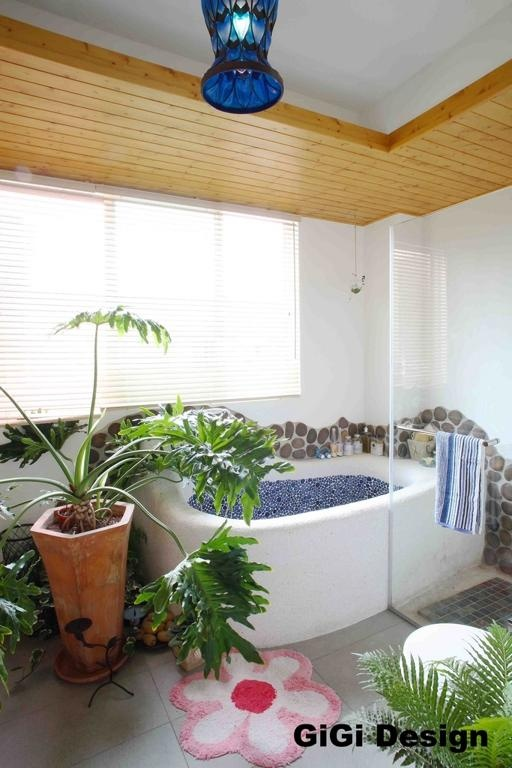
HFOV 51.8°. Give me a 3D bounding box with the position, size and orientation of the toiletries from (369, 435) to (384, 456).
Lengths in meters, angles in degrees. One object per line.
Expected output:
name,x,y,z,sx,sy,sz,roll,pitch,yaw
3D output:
toiletries,0.831,0.436,3.745,0.091,0.196,0.138,3,-6,-16

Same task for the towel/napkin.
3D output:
towel/napkin,0.829,0.408,2.176,0.043,0.400,0.237,-4,6,-32
